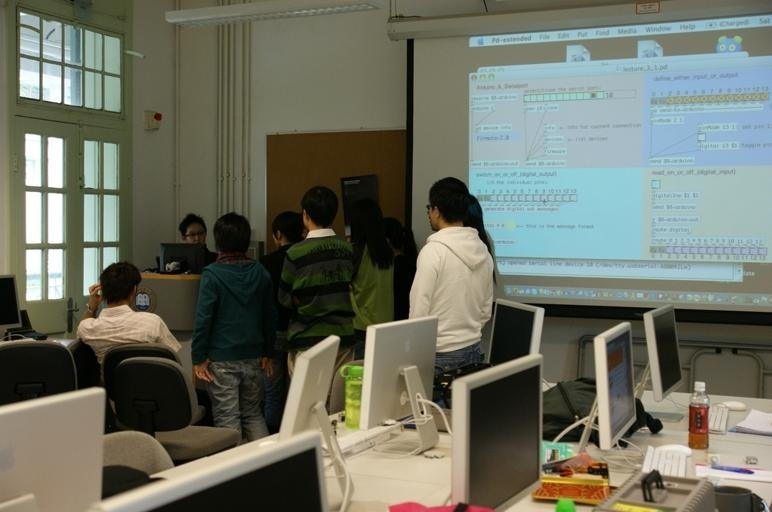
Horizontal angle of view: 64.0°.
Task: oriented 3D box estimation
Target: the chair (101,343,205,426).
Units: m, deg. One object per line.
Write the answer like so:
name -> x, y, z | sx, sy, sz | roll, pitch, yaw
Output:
chair -> -1.500, 0.770, 4.106 | 0.481, 0.714, 0.580 | 1, 5, 8

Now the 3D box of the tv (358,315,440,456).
tv -> 0.068, 0.658, 3.017 | 0.225, 0.637, 0.622 | 5, 3, 30

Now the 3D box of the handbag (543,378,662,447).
handbag -> 1.060, 0.795, 3.176 | 0.431, 0.135, 0.350 | -1, 1, 29

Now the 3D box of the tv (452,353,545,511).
tv -> 0.427, 0.681, 2.303 | 0.192, 0.549, 0.644 | -1, 0, 33

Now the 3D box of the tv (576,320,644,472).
tv -> 1.187, 0.738, 3.213 | 0.217, 0.621, 0.606 | -1, 4, 23

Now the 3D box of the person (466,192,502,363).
person -> 0.666, 0.145, 4.281 | 0.249, 1.043, 1.073 | -5, -18, 8

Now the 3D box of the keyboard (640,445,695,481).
keyboard -> 1.376, 0.969, 2.985 | 0.182, 0.067, 0.316 | 6, 9, 19

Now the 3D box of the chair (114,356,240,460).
chair -> -1.675, 1.027, 4.477 | 0.495, 0.684, 0.545 | 2, -30, -4

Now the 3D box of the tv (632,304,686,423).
tv -> 1.682, 0.655, 3.756 | 0.262, 0.755, 0.736 | -1, 1, 23
